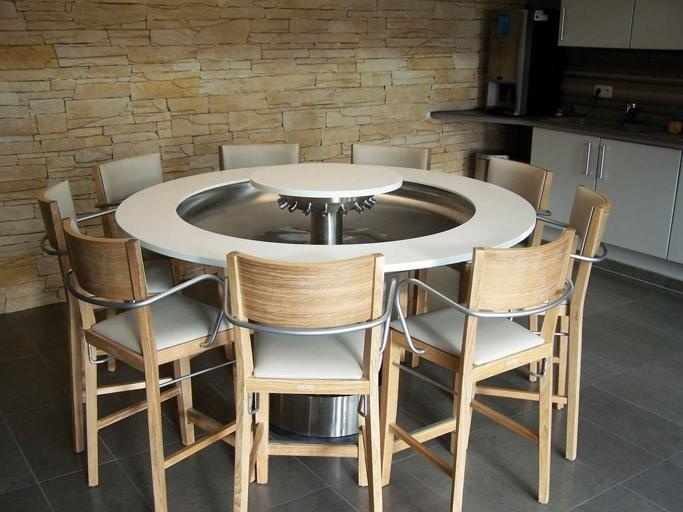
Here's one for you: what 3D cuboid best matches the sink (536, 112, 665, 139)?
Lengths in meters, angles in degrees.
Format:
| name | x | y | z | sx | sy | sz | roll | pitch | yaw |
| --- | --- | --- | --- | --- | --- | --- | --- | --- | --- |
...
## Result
| name | x | y | z | sx | sy | sz | roll | pitch | yaw |
| --- | --- | --- | --- | --- | --- | --- | --- | --- | --- |
| sink | 2.329 | -1.158 | 4.830 | 0.562 | 0.111 | 0.612 | -7 | 15 | -42 |

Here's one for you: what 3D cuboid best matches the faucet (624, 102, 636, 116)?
| name | x | y | z | sx | sy | sz | roll | pitch | yaw |
| --- | --- | --- | --- | --- | --- | --- | --- | --- | --- |
| faucet | 2.610 | -1.328 | 4.895 | 0.106 | 0.106 | 0.119 | -1 | 18 | -7 |

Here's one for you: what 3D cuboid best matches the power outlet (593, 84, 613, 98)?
| name | x | y | z | sx | sy | sz | roll | pitch | yaw |
| --- | --- | --- | --- | --- | --- | --- | --- | --- | --- |
| power outlet | 2.487 | -1.568 | 5.150 | 0.113 | 0.104 | 0.190 | -5 | 12 | -29 |
